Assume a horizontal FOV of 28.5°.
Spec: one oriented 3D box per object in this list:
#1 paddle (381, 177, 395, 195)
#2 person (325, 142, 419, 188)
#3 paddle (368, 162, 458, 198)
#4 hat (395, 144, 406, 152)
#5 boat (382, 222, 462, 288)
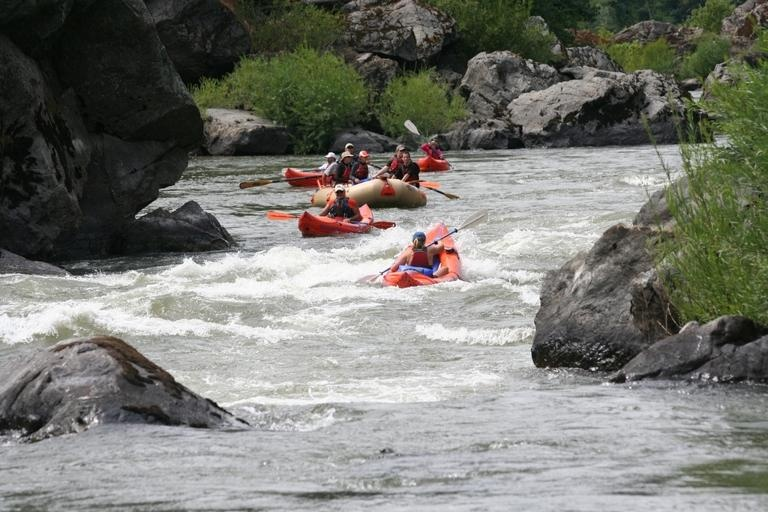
[{"bbox_3d":[0.087,-1.626,35.921,0.282,0.376,0.404,-1,-29,-4],"label":"paddle"},{"bbox_3d":[-0.414,-2.249,37.962,1.344,0.586,1.654,-1,2,-8],"label":"person"},{"bbox_3d":[1.326,-1.670,37.697,0.919,0.136,2.245,3,14,-41],"label":"paddle"},{"bbox_3d":[0.424,-2.722,38.622,0.284,0.148,0.407,-6,6,1],"label":"hat"},{"bbox_3d":[0.960,-0.005,29.283,0.751,0.387,2.117,-6,15,18],"label":"boat"}]
